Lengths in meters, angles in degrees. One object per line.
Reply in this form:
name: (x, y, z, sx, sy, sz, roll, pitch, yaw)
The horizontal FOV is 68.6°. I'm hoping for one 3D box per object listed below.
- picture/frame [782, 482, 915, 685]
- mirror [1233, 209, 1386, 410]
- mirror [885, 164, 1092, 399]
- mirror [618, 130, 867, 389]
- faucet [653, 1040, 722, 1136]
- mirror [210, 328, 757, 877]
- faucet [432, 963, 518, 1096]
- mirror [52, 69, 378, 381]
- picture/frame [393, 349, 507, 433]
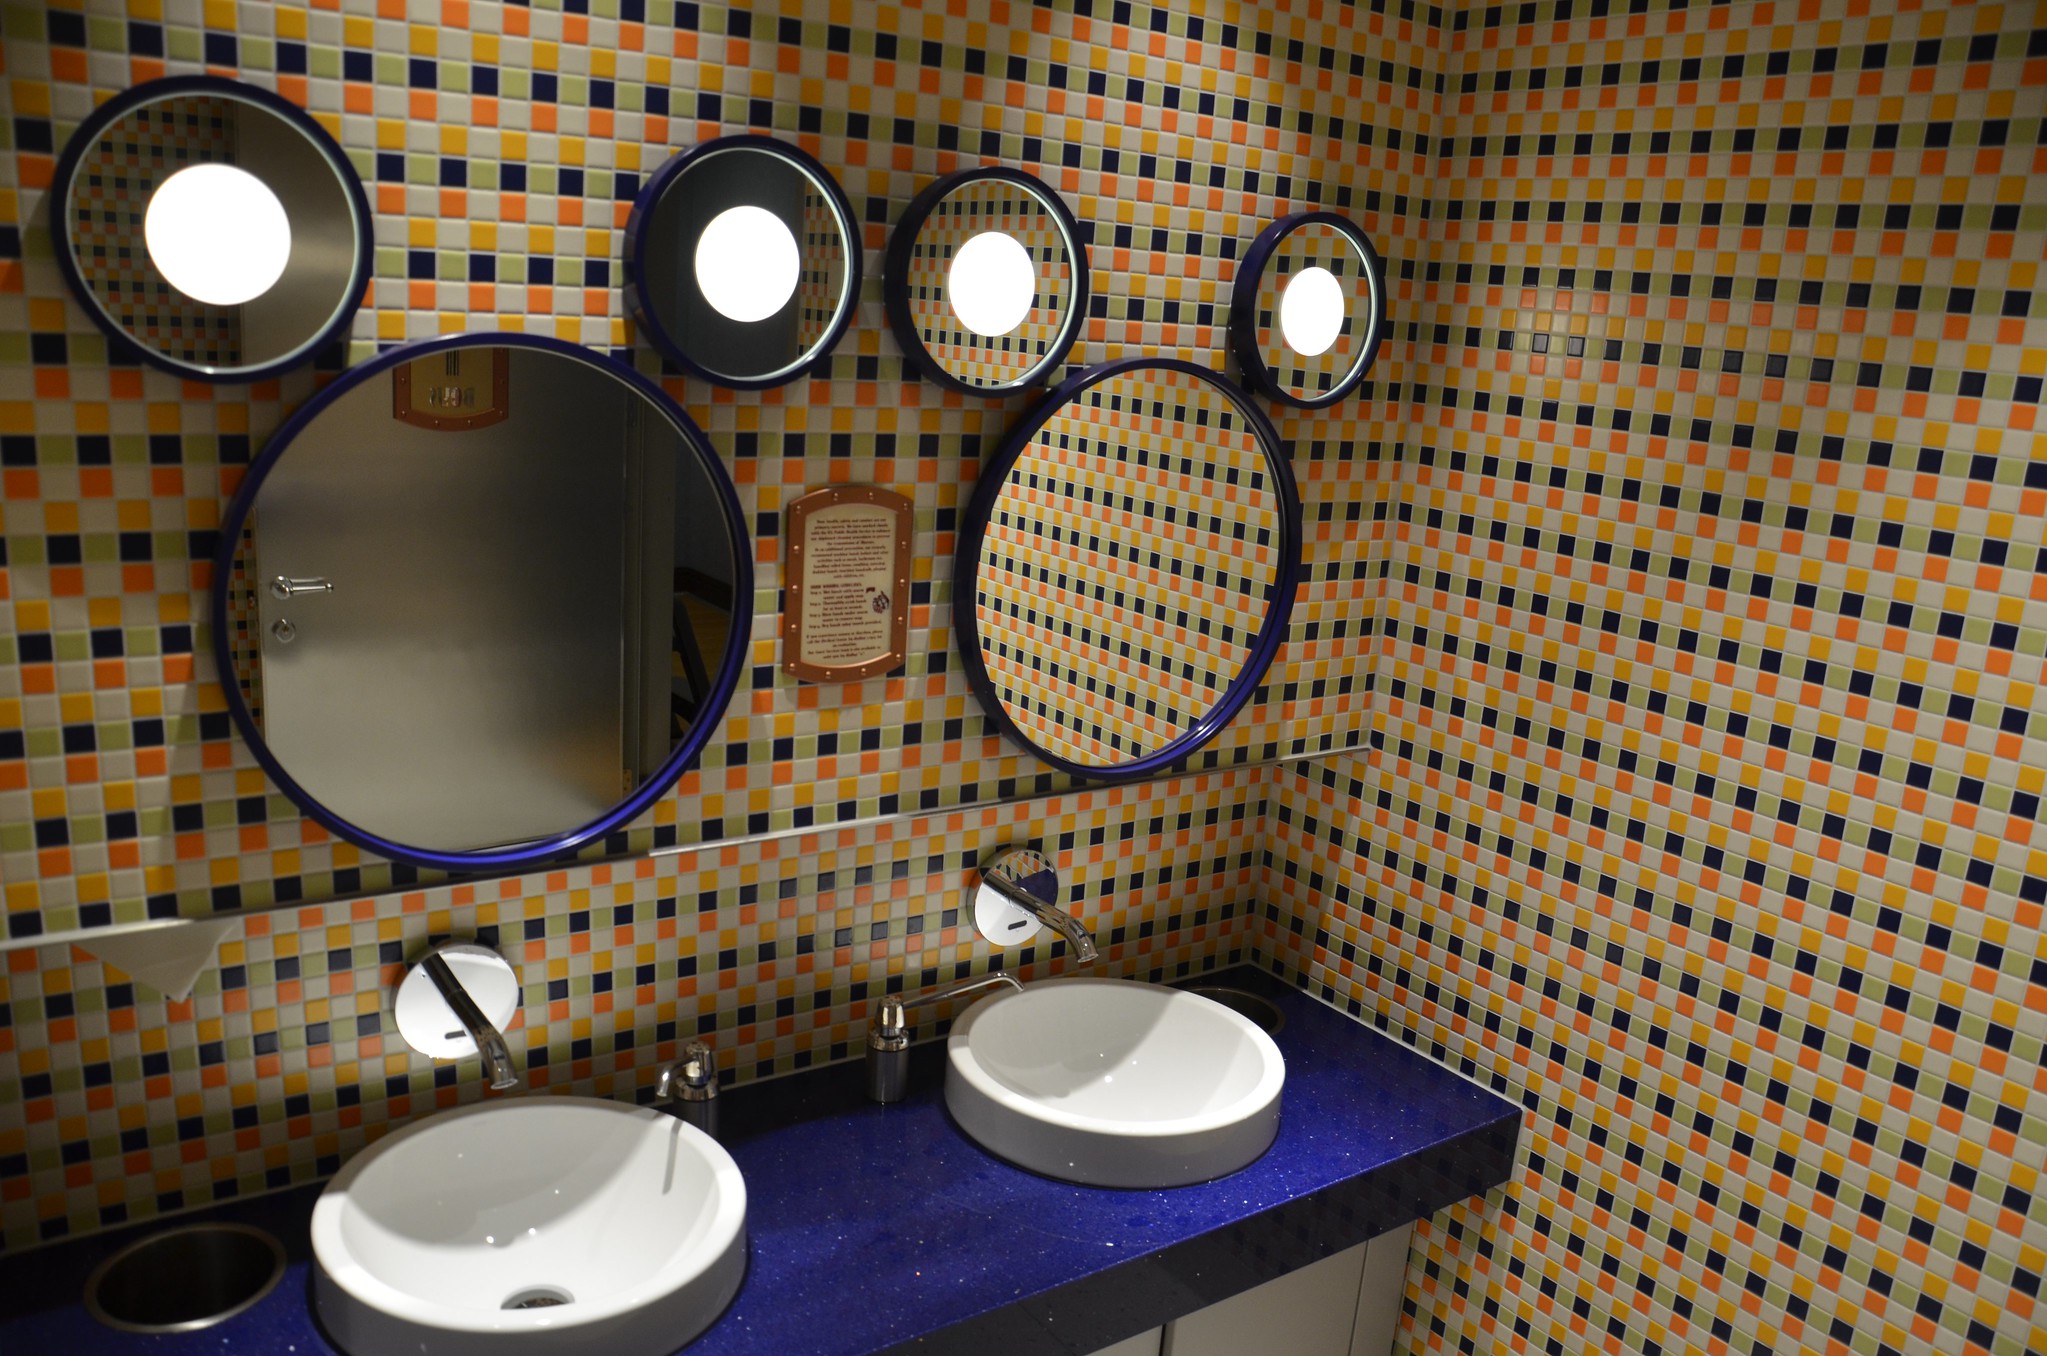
picture/frame: (-0.302, -0.175, 2.519, 0.275, 0.027, 0.398, -10, -67, -32)
mirror: (0.540, -0.685, 2.786, 0.050, 0.323, 0.344, -13, -70, -38)
mirror: (-0.054, -0.679, 2.544, 0.336, 0.336, 0.360, 1, -91, -6)
mirror: (-0.450, -0.661, 2.322, 0.393, 0.030, 0.419, -2, -83, -25)
faucet: (-0.565, 0.728, 2.570, 0.109, 0.066, 0.191, -3, -90, 9)
mirror: (-0.846, -0.142, 2.280, 0.776, 0.060, 0.884, -4, -75, -28)
faucet: (-0.894, 0.559, 2.451, 0.055, 0.238, 0.085, -6, -29, -51)
mirror: (-1.091, -0.611, 2.050, 0.379, 0.008, 0.454, -5, -100, -27)
picture/frame: (-0.852, -0.432, 2.221, 0.110, 0.020, 0.130, -11, -58, -28)
